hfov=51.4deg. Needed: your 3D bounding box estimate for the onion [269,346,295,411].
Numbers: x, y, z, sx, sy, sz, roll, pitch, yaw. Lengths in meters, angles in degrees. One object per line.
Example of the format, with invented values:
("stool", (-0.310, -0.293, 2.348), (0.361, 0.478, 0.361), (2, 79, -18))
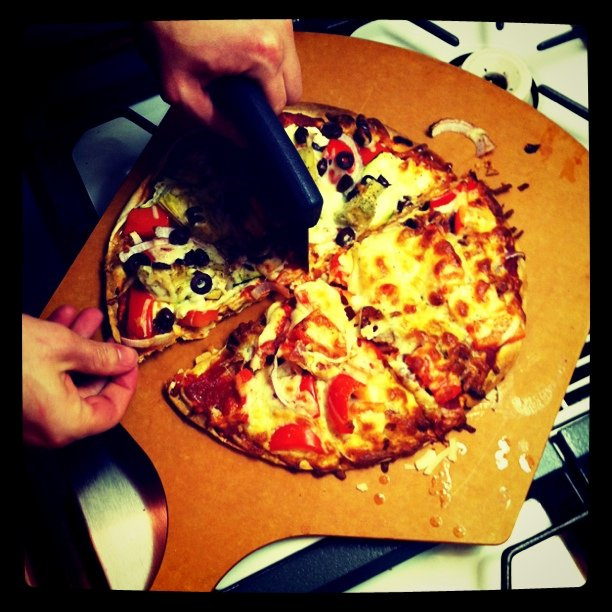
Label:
("onion", (-0.099, 0.298, 2.540), (0.037, 0.060, 0.273), (-25, 69, 37))
